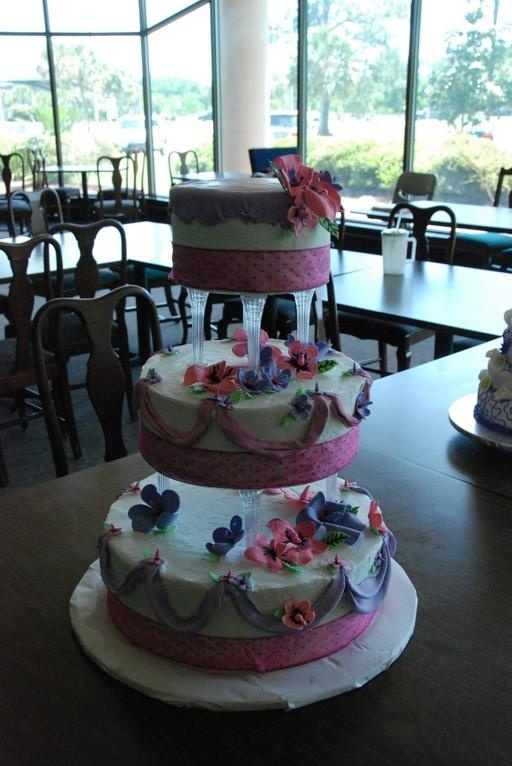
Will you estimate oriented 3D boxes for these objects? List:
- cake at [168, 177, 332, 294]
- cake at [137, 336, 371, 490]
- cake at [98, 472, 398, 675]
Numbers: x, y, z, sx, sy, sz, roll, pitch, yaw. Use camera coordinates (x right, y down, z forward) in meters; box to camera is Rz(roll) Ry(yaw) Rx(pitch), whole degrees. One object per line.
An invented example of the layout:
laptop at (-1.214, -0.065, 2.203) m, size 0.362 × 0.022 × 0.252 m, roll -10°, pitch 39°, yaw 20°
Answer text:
cake at (-0.011, -0.205, 0.785) m, size 0.202 × 0.153 × 0.183 m, roll 12°, pitch 20°, yaw 42°
cake at (-0.019, 0.024, 0.784) m, size 0.334 × 0.142 × 0.327 m, roll 2°, pitch 15°, yaw 13°
cake at (0.000, 0.231, 0.798) m, size 0.382 × 0.141 × 0.373 m, roll -6°, pitch 10°, yaw -35°
